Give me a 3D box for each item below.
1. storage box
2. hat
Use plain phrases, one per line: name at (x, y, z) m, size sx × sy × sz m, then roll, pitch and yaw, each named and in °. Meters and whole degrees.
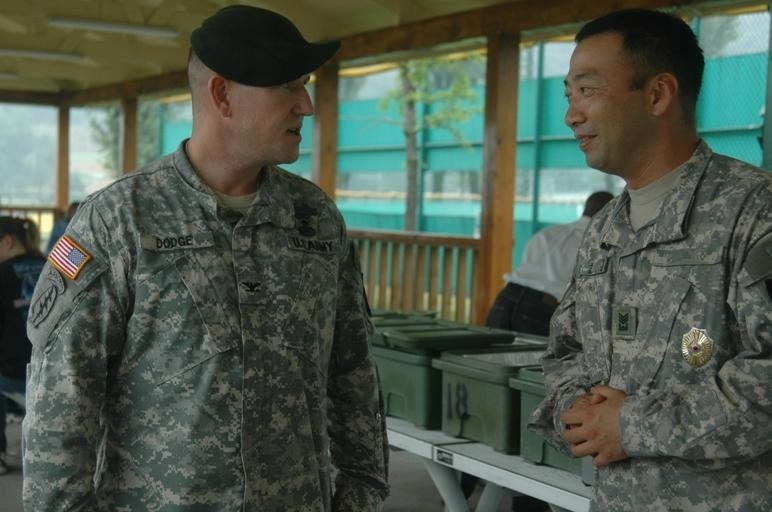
storage box at (0.431, 0.640, 4.566) m, size 0.546 × 0.297 × 0.889 m, roll 1°, pitch 4°, yaw -39°
hat at (-0.435, -0.730, 3.381) m, size 0.441 × 0.144 × 0.308 m, roll 1°, pitch 37°, yaw 0°
